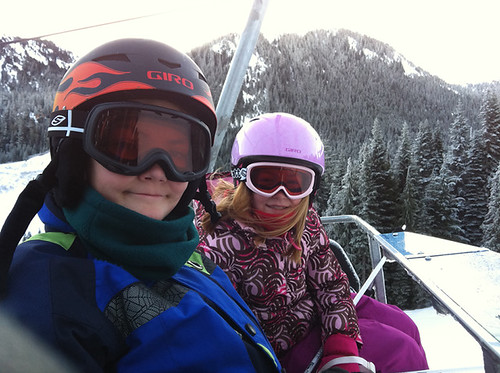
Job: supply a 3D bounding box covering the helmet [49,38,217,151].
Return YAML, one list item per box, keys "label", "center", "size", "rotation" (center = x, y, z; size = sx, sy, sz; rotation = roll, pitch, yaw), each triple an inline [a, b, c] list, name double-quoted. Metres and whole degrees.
- label: "helmet"
  center: [-0.542, -0.435, 1.898]
  size: [0.589, 0.438, 0.432]
  rotation: [27, 8, 40]

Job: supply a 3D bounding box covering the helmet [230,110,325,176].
- label: "helmet"
  center: [0.189, -0.293, 2.609]
  size: [0.389, 0.402, 0.474]
  rotation: [3, -5, -8]
